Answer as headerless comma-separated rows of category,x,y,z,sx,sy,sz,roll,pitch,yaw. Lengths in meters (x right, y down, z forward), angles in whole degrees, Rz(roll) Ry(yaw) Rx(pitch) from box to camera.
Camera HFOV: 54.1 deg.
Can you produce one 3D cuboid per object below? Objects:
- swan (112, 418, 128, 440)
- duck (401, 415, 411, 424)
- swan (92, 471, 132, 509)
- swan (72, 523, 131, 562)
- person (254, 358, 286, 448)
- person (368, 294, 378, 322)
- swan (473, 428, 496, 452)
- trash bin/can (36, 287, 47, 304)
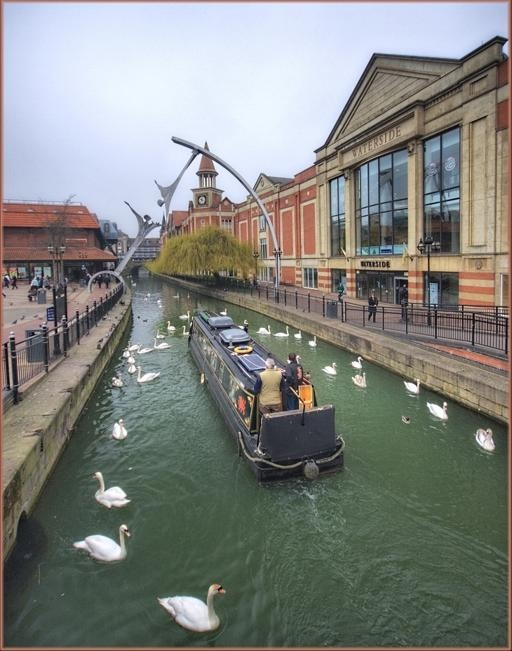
swan,-3.163,2.377,11.577,0.243,0.534,0.653,-1,13,-18
duck,3.546,2.246,11.878,0.128,0.093,0.206,6,6,7
swan,-2.498,2.822,8.707,0.711,0.626,0.422,3,12,19
swan,-2.325,3.295,7.537,0.667,0.611,0.321,14,5,15
person,0.274,1.420,9.687,0.588,1.478,0.532,-1,11,0
person,4.979,-0.677,21.516,0.341,1.327,2.209,2,13,13
swan,4.753,2.322,10.484,0.277,0.556,0.517,-2,24,4
trash bin/can,-12.801,-1.599,29.992,0.451,0.789,0.954,-7,13,-29
